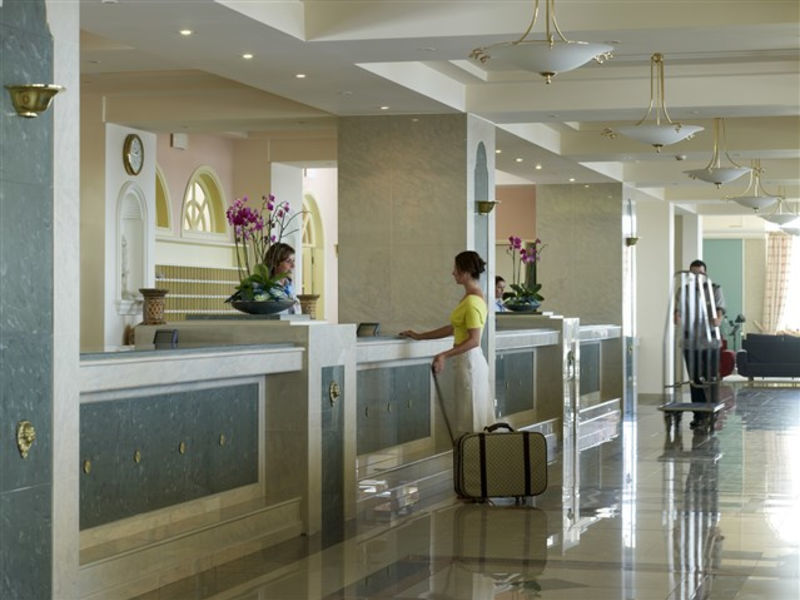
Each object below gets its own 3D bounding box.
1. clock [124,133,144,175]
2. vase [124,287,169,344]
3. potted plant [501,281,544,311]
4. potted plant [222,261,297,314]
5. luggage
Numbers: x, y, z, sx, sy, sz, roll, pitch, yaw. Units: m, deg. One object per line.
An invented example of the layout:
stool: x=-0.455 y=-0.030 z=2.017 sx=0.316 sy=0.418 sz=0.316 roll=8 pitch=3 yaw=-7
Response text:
clock: x=-3.848 y=-2.134 z=10.250 sx=0.068 sy=0.553 sz=0.556 roll=-1 pitch=15 yaw=-39
vase: x=-3.674 y=0.206 z=10.054 sx=0.538 sy=0.788 sz=0.583 roll=1 pitch=-3 yaw=-23
potted plant: x=1.932 y=-0.063 z=11.087 sx=0.560 sy=0.491 sz=0.910 roll=-1 pitch=-3 yaw=8
potted plant: x=-1.088 y=-0.073 z=5.601 sx=0.401 sy=0.266 sz=0.444 roll=1 pitch=-5 yaw=-6
luggage: x=1.000 y=1.175 z=6.431 sx=0.909 sy=1.333 sz=0.505 roll=-5 pitch=-24 yaw=12
